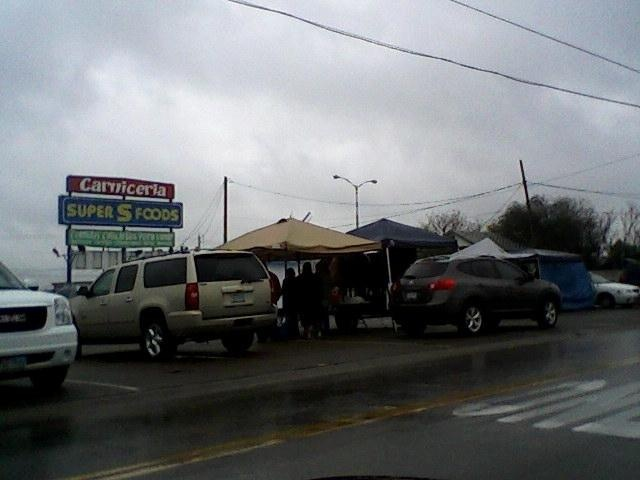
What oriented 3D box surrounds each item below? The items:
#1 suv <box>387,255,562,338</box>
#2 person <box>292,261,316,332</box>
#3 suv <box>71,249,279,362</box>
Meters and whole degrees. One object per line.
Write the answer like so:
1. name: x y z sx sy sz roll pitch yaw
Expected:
1. suv: 4.214 1.440 14.468 4.145 1.940 2.077 -3 -1 -31
2. person: -0.418 1.608 15.275 0.570 2.319 0.515 -9 36 -16
3. suv: -3.428 1.404 11.906 4.289 1.910 2.219 -4 -7 36
